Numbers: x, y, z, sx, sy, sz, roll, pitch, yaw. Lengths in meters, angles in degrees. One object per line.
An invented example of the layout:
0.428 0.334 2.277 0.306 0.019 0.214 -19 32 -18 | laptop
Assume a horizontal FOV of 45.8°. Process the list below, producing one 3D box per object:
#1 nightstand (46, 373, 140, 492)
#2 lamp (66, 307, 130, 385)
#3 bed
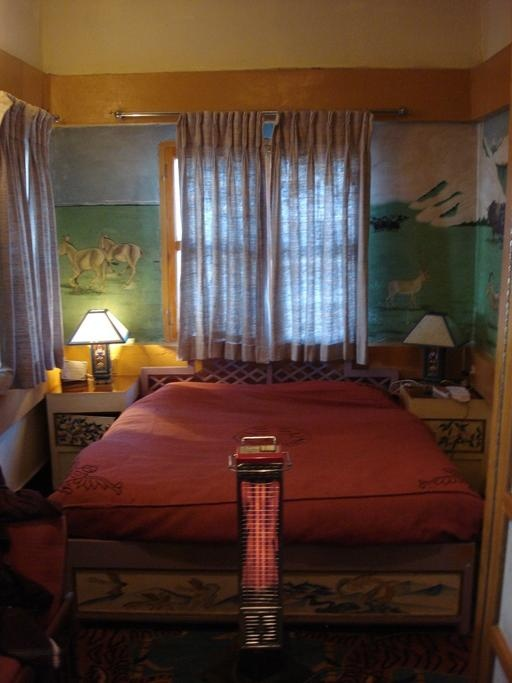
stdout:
-1.016 0.414 3.778 0.515 0.705 0.899 -1 12 0 | nightstand
-0.914 0.031 3.643 0.453 0.411 0.414 -5 7 -28 | lamp
0.035 0.670 2.749 1.576 0.540 1.314 -1 12 0 | bed
